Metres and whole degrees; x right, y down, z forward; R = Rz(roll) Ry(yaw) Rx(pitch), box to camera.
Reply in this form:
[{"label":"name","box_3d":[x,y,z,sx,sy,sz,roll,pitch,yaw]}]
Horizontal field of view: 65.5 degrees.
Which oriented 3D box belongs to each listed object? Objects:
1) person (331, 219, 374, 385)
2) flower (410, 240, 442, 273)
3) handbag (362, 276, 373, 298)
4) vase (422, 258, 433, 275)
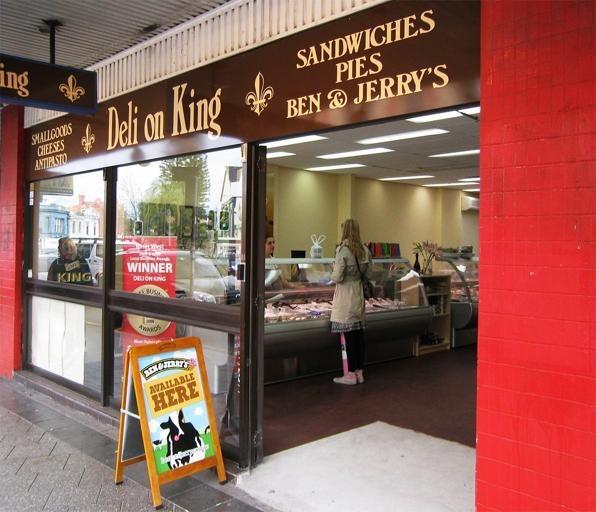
[{"label":"person","box_3d":[0.648,0.557,5.711,0.498,1.989,0.431,0,0,-5]},{"label":"flower","box_3d":[2.702,0.035,9.866,0.595,1.061,0.572,3,2,41]},{"label":"handbag","box_3d":[0.847,0.389,5.683,0.101,0.309,0.251,-8,0,13]},{"label":"vase","box_3d":[2.548,0.217,9.117,0.226,0.502,0.246,0,3,16]}]
